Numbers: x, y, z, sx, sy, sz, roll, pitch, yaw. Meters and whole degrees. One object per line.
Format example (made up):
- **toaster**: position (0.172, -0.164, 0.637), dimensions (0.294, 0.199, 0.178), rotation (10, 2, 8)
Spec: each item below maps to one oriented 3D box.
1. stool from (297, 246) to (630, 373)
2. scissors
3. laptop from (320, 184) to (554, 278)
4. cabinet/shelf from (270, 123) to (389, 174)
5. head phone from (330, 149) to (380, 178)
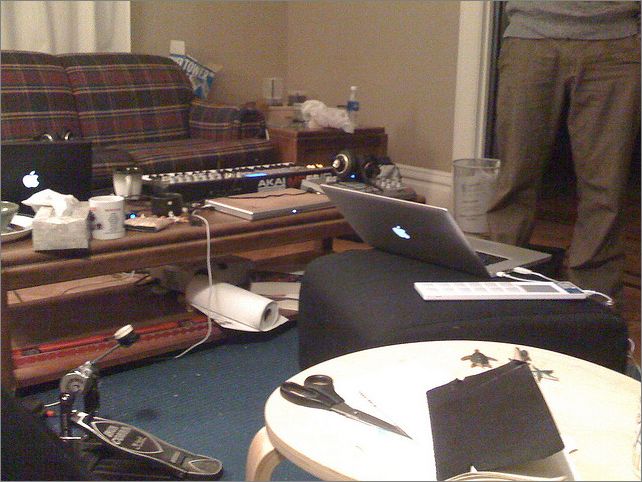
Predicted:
- **stool**: position (0.275, 0.144, 1.297), dimensions (0.604, 0.224, 0.491), rotation (-4, 11, -25)
- **scissors**: position (0.026, 0.271, 0.876), dimensions (0.199, 0.014, 0.077), rotation (11, 19, 40)
- **laptop**: position (0.338, -0.031, 1.430), dimensions (0.632, 0.146, 0.456), rotation (2, 13, -1)
- **cabinet/shelf**: position (0.024, -0.506, 2.908), dimensions (0.665, 0.255, 0.311), rotation (-8, 22, -26)
- **head phone**: position (0.128, -0.317, 2.205), dimensions (0.217, 0.058, 0.114), rotation (0, 13, -13)
